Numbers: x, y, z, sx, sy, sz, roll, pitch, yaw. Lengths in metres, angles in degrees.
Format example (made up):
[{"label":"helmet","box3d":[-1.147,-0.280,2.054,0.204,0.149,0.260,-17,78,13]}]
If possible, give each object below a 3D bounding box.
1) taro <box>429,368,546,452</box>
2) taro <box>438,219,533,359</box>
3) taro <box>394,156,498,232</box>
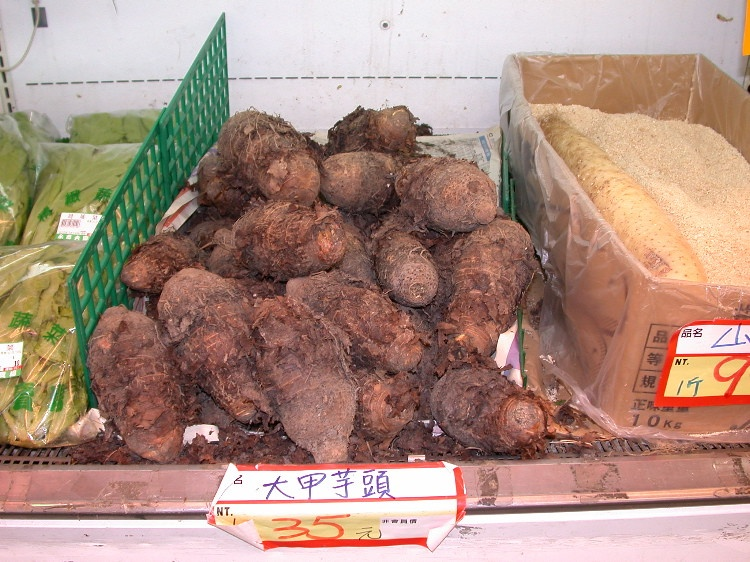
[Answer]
[{"label":"taro","box3d":[0.299,0.366,1.724,0.395,0.255,0.291,2,17,-10]},{"label":"taro","box3d":[0.369,0.031,1.843,0.251,0.210,0.536,2,57,19]},{"label":"taro","box3d":[0.231,-0.312,1.951,0.309,0.296,0.390,-14,23,-27]}]
